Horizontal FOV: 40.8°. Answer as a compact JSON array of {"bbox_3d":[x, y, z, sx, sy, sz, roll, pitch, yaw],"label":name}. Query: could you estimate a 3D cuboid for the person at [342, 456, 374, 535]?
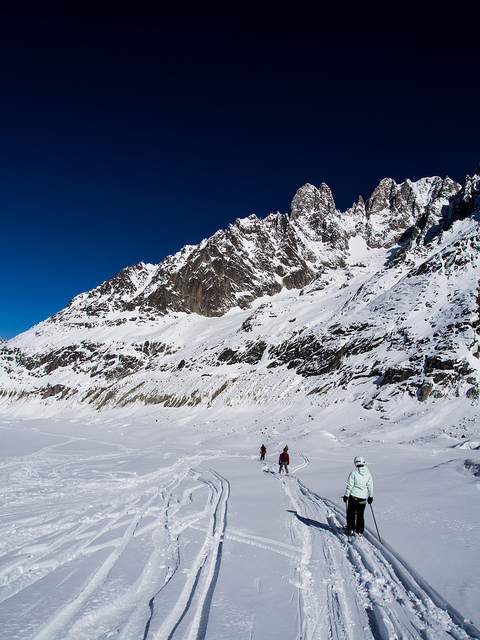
[{"bbox_3d":[2.531,3.819,14.080,0.634,1.613,0.468,-1,-7,7],"label":"person"}]
